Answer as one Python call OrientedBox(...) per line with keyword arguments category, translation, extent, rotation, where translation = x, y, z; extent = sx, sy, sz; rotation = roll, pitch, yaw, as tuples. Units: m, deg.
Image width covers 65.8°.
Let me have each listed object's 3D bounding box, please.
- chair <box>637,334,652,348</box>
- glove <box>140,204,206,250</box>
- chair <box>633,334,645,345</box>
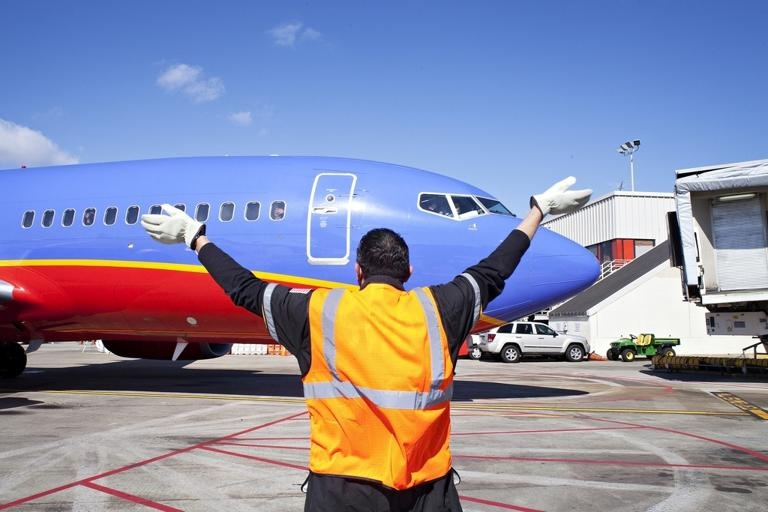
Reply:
OrientedBox(category="chair", translation=(12.062, 3.899, 27.294), extent=(0.518, 0.536, 0.614), rotation=(32, -22, -36))
OrientedBox(category="glove", translation=(-2.391, -0.381, 6.373), extent=(0.374, 0.529, 0.208), rotation=(-18, -31, -30))
OrientedBox(category="chair", translation=(11.809, 3.892, 27.575), extent=(0.400, 0.467, 0.496), rotation=(-3, -10, 32))
